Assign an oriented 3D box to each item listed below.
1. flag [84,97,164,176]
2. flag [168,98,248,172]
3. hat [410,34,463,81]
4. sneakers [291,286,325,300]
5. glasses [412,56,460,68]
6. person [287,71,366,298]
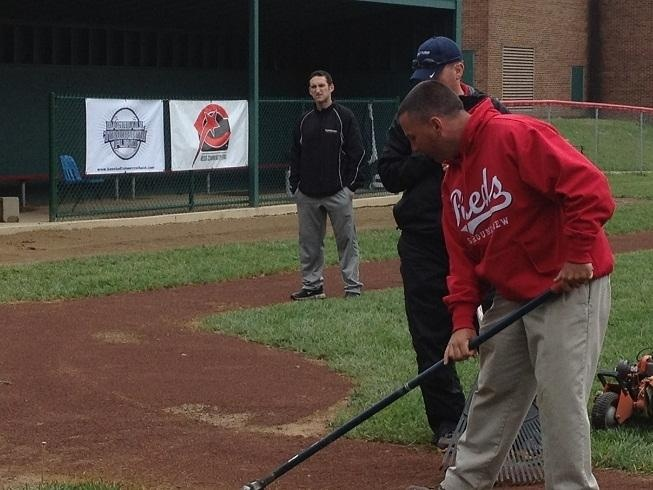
[{"bbox_3d":[-3.381,-1.833,15.622,1.142,1.087,0.101,-6,6,-44],"label":"flag"},{"bbox_3d":[-2.079,-2.026,16.884,1.402,1.236,0.016,-1,-10,-4],"label":"flag"},{"bbox_3d":[0.809,-1.426,7.153,0.471,0.293,0.324,-26,18,-25],"label":"hat"},{"bbox_3d":[-0.202,0.507,10.352,0.366,0.202,0.160,1,1,-6],"label":"sneakers"},{"bbox_3d":[0.804,-1.380,7.068,0.212,0.069,0.157,-14,10,3],"label":"glasses"},{"bbox_3d":[-0.012,-0.688,10.415,0.916,2.460,0.499,-4,4,0],"label":"person"}]
